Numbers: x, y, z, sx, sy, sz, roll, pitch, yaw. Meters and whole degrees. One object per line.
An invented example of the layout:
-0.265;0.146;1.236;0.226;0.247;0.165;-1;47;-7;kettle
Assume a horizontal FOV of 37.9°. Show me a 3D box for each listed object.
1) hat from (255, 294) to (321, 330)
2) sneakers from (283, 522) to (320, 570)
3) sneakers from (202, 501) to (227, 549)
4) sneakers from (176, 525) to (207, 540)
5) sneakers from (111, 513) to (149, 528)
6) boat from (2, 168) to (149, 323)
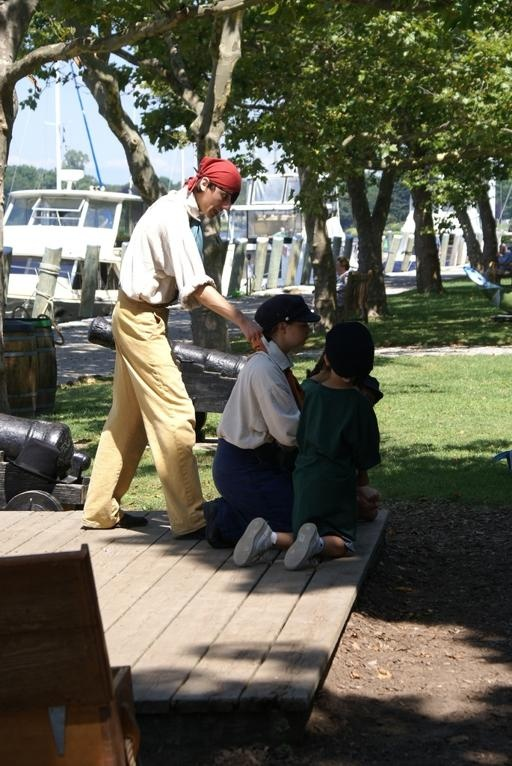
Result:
0.163;-0.384;4.037;0.299;0.133;0.199;-8;17;-2;hat
0.216;0.776;3.577;0.126;0.097;0.264;15;35;34;sneakers
-0.219;0.782;4.075;0.137;0.220;0.187;-9;-20;-9;sneakers
-0.361;0.847;4.222;0.138;0.044;0.083;-4;-1;19;sneakers
-0.766;0.841;4.563;0.226;0.083;0.071;-4;10;-10;sneakers
-8.494;-5.861;33.770;4.748;5.343;13.445;1;0;-3;boat
